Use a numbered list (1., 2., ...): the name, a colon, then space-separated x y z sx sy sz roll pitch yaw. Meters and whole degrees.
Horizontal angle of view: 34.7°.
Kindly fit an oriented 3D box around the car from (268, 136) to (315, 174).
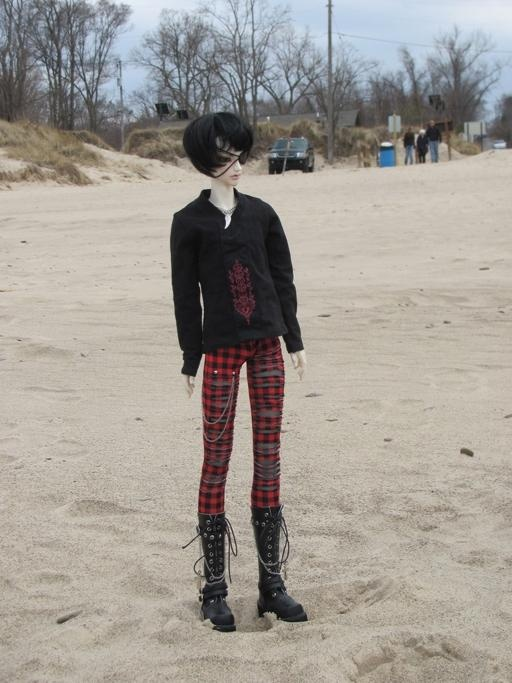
1. car: 1.227 -6.453 28.268 1.186 0.918 2.301 -1 4 8

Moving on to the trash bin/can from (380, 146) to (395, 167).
1. trash bin/can: 4.352 -6.069 26.924 0.463 0.604 1.121 1 14 6

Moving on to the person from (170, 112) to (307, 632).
1. person: -0.042 0.126 2.861 0.460 1.797 0.524 -3 16 -6

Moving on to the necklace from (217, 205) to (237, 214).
1. necklace: -0.097 -0.450 2.822 0.029 0.027 0.076 13 20 43
